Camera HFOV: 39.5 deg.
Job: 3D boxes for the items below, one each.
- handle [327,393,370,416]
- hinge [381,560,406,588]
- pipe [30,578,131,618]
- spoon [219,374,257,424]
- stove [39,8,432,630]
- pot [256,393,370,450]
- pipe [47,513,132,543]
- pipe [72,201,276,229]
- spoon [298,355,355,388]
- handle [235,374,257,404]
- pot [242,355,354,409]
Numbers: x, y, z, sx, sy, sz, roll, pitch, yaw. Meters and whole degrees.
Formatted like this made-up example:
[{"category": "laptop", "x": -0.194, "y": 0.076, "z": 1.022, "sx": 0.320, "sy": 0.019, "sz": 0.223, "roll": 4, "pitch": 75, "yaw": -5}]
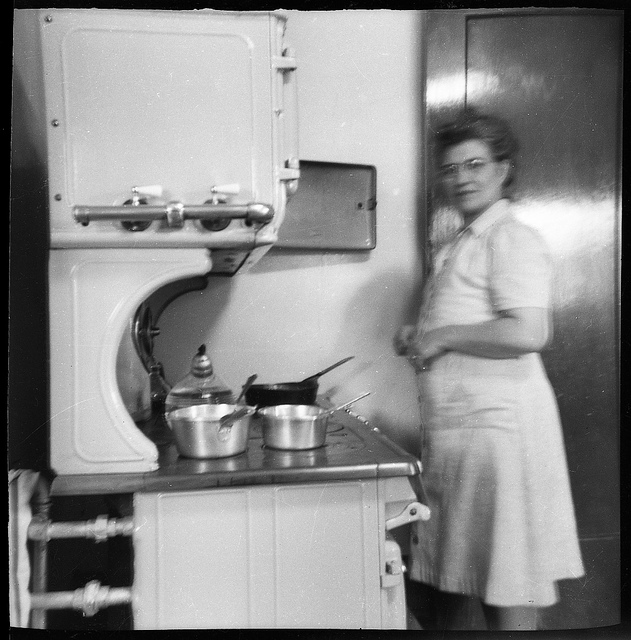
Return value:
[{"category": "handle", "x": 0.063, "y": 0.149, "z": 1.623, "sx": 0.092, "sy": 0.024, "sz": 0.010, "roll": -22, "pitch": 31, "yaw": -25}, {"category": "hinge", "x": 0.139, "y": 0.466, "z": 1.590, "sx": 0.031, "sy": 0.039, "sz": 0.054, "roll": -1, "pitch": -13, "yaw": 5}, {"category": "pipe", "x": -0.421, "y": 0.508, "z": 1.632, "sx": 0.240, "sy": 0.067, "sz": 0.073, "roll": 0, "pitch": 51, "yaw": 0}, {"category": "spoon", "x": -0.143, "y": 0.140, "z": 1.579, "sx": 0.039, "sy": 0.070, "sz": 0.102, "roll": 0, "pitch": 7, "yaw": 17}, {"category": "stove", "x": -0.195, "y": -0.029, "z": 2.406, "sx": 0.935, "sy": 1.792, "sz": 1.051, "roll": -1, "pitch": 3, "yaw": -6}, {"category": "pot", "x": -0.029, "y": 0.184, "z": 1.592, "sx": 0.150, "sy": 0.061, "sz": 0.084, "roll": 0, "pitch": -1, "yaw": -22}, {"category": "pipe", "x": -0.400, "y": 0.366, "z": 1.565, "sx": 0.127, "sy": 0.053, "sz": 0.034, "roll": -3, "pitch": 22, "yaw": -3}, {"category": "pipe", "x": -0.244, "y": -0.180, "z": 1.500, "sx": 0.348, "sy": 0.046, "sz": 0.048, "roll": -3, "pitch": 7, "yaw": -2}, {"category": "spoon", "x": 0.013, "y": 0.092, "z": 1.617, "sx": 0.083, "sy": 0.011, "sz": 0.012, "roll": -33, "pitch": 27, "yaw": -2}, {"category": "handle", "x": -0.126, "y": 0.125, "z": 1.623, "sx": 0.018, "sy": 0.071, "sz": 0.010, "roll": 32, "pitch": -1, "yaw": 3}, {"category": "pot", "x": -0.032, "y": 0.110, "z": 1.617, "sx": 0.164, "sy": 0.056, "sz": 0.100, "roll": -11, "pitch": -1, "yaw": -8}]
